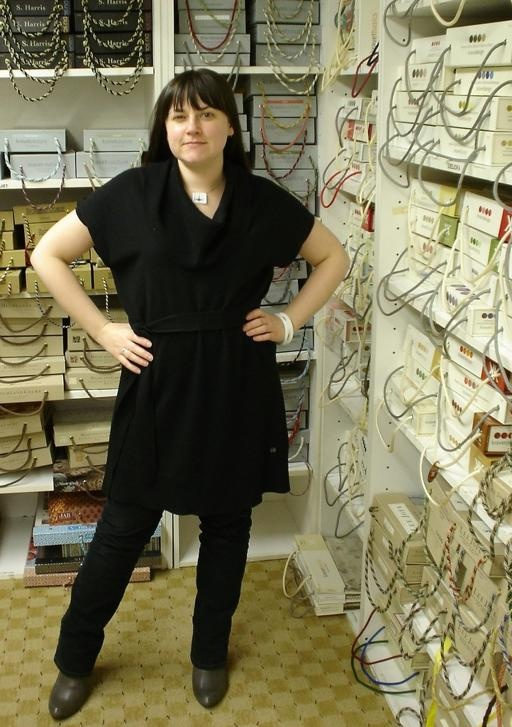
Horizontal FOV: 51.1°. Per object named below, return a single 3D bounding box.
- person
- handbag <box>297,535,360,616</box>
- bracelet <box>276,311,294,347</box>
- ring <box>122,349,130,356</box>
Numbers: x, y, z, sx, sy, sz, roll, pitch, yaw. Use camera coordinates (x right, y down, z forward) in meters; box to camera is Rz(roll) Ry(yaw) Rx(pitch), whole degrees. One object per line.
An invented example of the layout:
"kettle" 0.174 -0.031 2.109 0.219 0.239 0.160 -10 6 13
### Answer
"person" -0.137 0.129 1.264 0.713 1.479 0.274 -2 11 -18
"handbag" 0.255 0.701 1.796 0.185 0.068 0.203 -5 22 -12
"bracelet" 0.077 -0.075 1.282 0.020 0.065 0.054 -5 3 -31
"ring" -0.282 -0.025 1.165 0.010 0.015 0.004 -4 -13 24
